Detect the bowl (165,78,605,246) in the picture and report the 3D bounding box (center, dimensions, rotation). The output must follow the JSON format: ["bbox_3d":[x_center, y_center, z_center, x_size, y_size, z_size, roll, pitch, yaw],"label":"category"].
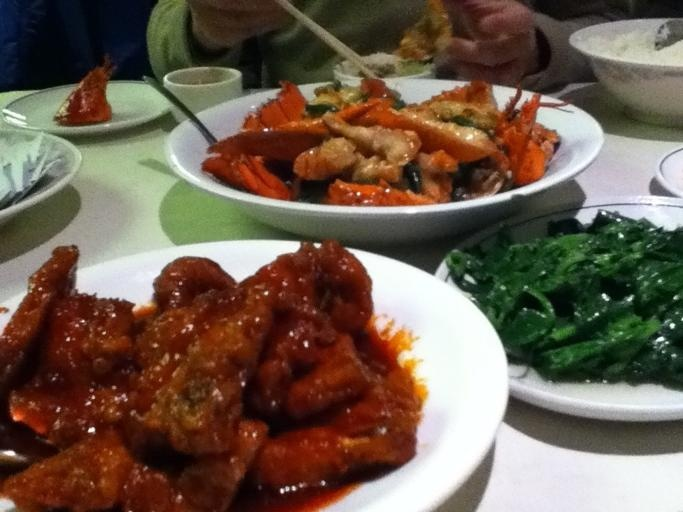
[{"bbox_3d":[0.118,-0.296,1.844,1.228,0.196,0.815,1,41,6],"label":"bowl"}]
